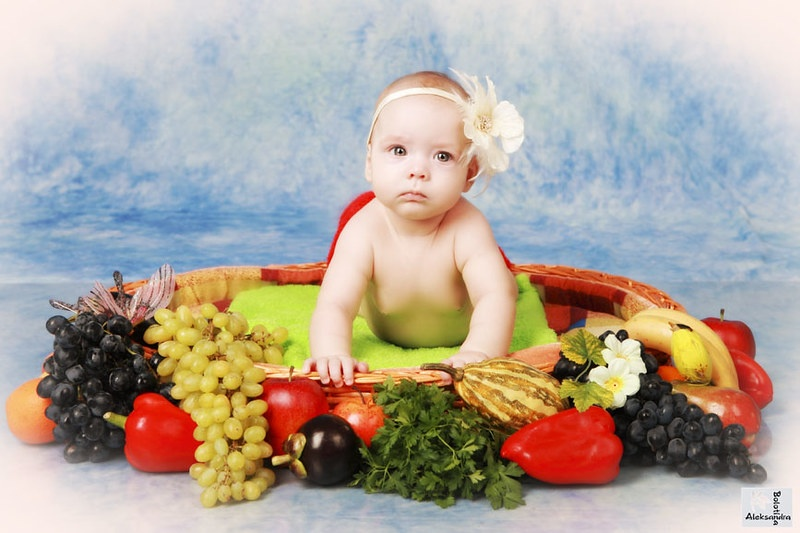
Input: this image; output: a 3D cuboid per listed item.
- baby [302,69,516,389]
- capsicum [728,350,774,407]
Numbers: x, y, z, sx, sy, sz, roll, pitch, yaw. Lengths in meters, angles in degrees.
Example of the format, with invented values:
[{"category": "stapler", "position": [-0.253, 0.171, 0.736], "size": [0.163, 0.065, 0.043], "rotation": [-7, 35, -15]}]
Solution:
[{"category": "baby", "position": [0.044, -0.197, 3.440], "size": [1.039, 1.220, 1.613], "rotation": [-2, 4, -13]}, {"category": "capsicum", "position": [1.412, 0.457, 2.950], "size": [0.131, 0.165, 0.197], "rotation": [-36, 36, -4]}]
